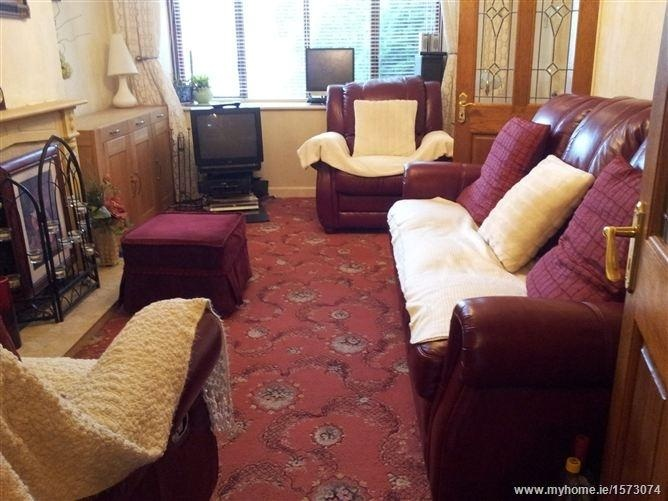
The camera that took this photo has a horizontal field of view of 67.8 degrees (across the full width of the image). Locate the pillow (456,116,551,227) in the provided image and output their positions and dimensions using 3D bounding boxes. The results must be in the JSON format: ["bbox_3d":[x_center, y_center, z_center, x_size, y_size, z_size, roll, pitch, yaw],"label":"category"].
[{"bbox_3d":[0.880,-0.425,2.587,0.168,0.525,0.553,24,16,1],"label":"pillow"}]

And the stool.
[{"bbox_3d":[-0.886,0.042,3.096,0.866,0.488,0.850,-10,23,-26],"label":"stool"}]

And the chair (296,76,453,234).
[{"bbox_3d":[0.368,-0.877,4.399,1.257,1.196,1.299,-1,21,1],"label":"chair"}]

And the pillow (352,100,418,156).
[{"bbox_3d":[0.455,-1.080,4.396,0.571,0.503,0.184,3,14,14],"label":"pillow"}]

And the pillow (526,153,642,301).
[{"bbox_3d":[0.836,-0.023,1.659,0.146,0.451,0.484,21,24,9],"label":"pillow"}]

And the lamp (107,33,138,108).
[{"bbox_3d":[-1.908,-1.622,4.468,0.259,0.626,0.377,-10,25,-18],"label":"lamp"}]

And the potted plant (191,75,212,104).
[{"bbox_3d":[-1.376,-1.674,5.160,0.200,0.291,0.171,-2,23,-1],"label":"potted plant"}]

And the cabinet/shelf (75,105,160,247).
[{"bbox_3d":[-1.761,-0.652,4.135,0.396,0.932,1.077,5,25,5],"label":"cabinet/shelf"}]
